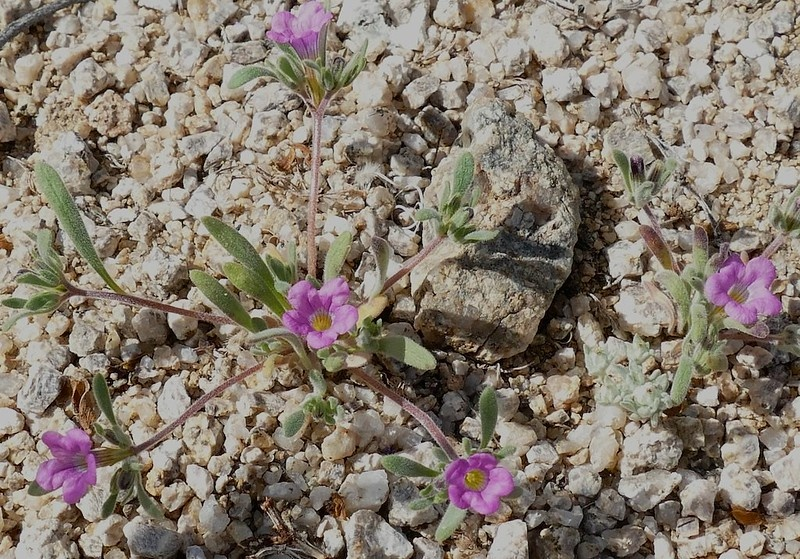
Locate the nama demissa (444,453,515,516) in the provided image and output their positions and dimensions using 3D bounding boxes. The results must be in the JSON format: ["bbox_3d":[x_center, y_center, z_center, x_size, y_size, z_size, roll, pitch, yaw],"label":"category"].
[{"bbox_3d":[0.391,1.037,4.337,0.344,0.131,0.377,1,79,2],"label":"nama demissa"}]

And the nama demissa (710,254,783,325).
[{"bbox_3d":[1.827,0.065,4.602,0.379,0.206,0.413,11,52,15],"label":"nama demissa"}]
